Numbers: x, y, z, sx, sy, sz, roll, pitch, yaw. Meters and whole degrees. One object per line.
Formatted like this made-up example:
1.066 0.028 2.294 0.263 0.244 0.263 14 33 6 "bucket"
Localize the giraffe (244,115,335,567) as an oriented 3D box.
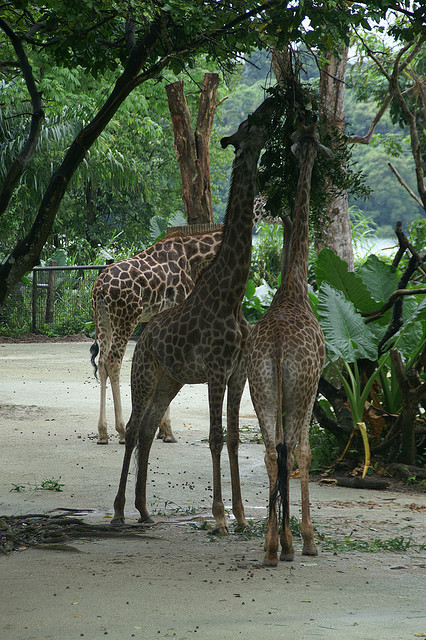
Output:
0.462 0.040 4.757 0.532 2.680 1.062 0 3 8 "giraffe"
